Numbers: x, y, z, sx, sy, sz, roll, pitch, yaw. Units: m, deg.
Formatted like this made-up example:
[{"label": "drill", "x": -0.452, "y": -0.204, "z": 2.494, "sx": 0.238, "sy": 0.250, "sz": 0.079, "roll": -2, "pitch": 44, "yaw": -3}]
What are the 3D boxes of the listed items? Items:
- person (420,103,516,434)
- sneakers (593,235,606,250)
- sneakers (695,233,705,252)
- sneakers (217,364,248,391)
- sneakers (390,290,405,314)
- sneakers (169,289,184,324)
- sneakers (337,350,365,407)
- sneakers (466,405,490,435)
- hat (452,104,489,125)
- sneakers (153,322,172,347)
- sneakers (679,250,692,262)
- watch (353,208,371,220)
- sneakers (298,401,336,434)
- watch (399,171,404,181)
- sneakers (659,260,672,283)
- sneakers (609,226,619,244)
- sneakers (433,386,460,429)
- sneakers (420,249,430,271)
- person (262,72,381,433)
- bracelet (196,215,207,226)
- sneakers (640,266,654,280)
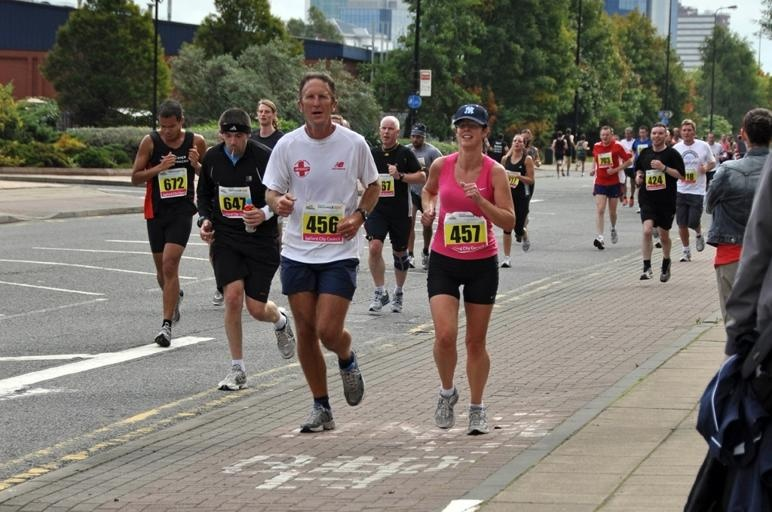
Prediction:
[{"label": "person", "x": 0.662, "y": 0.088, "z": 7.004, "sx": 0.700, "sy": 2.581, "sz": 0.856, "roll": -1, "pitch": 8, "yaw": 2}, {"label": "sneakers", "x": 4.306, "y": -0.254, "z": 17.558, "sx": 0.165, "sy": 0.210, "sz": 0.420, "roll": -3, "pitch": -23, "yaw": 11}, {"label": "sneakers", "x": 5.912, "y": -0.334, "z": 16.493, "sx": 0.159, "sy": 0.184, "sz": 0.487, "roll": -11, "pitch": 42, "yaw": 33}, {"label": "sneakers", "x": -1.427, "y": 1.118, "z": 8.157, "sx": 0.291, "sy": 0.225, "sz": 0.235, "roll": -4, "pitch": 9, "yaw": -18}, {"label": "sneakers", "x": 0.155, "y": 0.590, "z": 11.448, "sx": 0.106, "sy": 0.149, "sz": 0.337, "roll": 6, "pitch": 41, "yaw": -5}, {"label": "sneakers", "x": -2.357, "y": 0.570, "z": 9.855, "sx": 0.160, "sy": 0.478, "sz": 0.200, "roll": 2, "pitch": -2, "yaw": -9}, {"label": "sneakers", "x": -0.269, "y": 1.030, "z": 7.123, "sx": 0.166, "sy": 0.486, "sz": 0.193, "roll": -8, "pitch": 11, "yaw": 7}, {"label": "sneakers", "x": 0.725, "y": 1.271, "z": 6.804, "sx": 0.166, "sy": 0.214, "sz": 0.131, "roll": 0, "pitch": 8, "yaw": 3}, {"label": "hat", "x": 0.669, "y": -1.123, "z": 6.933, "sx": 0.259, "sy": 0.168, "sz": 0.381, "roll": -1, "pitch": 9, "yaw": 2}, {"label": "sneakers", "x": -2.391, "y": 0.838, "z": 9.435, "sx": 0.185, "sy": 0.261, "sz": 0.192, "roll": -3, "pitch": 9, "yaw": -15}, {"label": "sneakers", "x": 5.309, "y": -0.007, "z": 15.449, "sx": 0.114, "sy": 0.243, "sz": 0.344, "roll": -2, "pitch": 11, "yaw": -11}, {"label": "watch", "x": -0.189, "y": -0.319, "z": 6.871, "sx": 0.108, "sy": 0.101, "sz": 0.072, "roll": 39, "pitch": 36, "yaw": 9}, {"label": "sneakers", "x": -0.518, "y": 1.292, "z": 7.023, "sx": 0.141, "sy": 0.200, "sz": 0.380, "roll": -3, "pitch": -3, "yaw": 32}, {"label": "watch", "x": 0.195, "y": -1.068, "z": 11.638, "sx": 0.061, "sy": 0.080, "sz": 0.092, "roll": 1, "pitch": 37, "yaw": -2}, {"label": "sneakers", "x": 4.197, "y": 0.207, "z": 13.125, "sx": 0.129, "sy": 0.393, "sz": 0.260, "roll": 1, "pitch": 9, "yaw": 12}, {"label": "sneakers", "x": 4.810, "y": -0.442, "z": 18.433, "sx": 0.156, "sy": 0.476, "sz": 0.185, "roll": -1, "pitch": -17, "yaw": 18}, {"label": "sneakers", "x": 0.473, "y": 1.212, "z": 6.934, "sx": 0.146, "sy": 0.365, "sz": 0.166, "roll": 3, "pitch": -10, "yaw": 19}, {"label": "sneakers", "x": 0.641, "y": 0.038, "z": 14.601, "sx": 0.138, "sy": 0.409, "sz": 0.174, "roll": -2, "pitch": 4, "yaw": -9}, {"label": "person", "x": -0.482, "y": -0.010, "z": 6.837, "sx": 0.876, "sy": 2.816, "sz": 0.593, "roll": -2, "pitch": 8, "yaw": -8}, {"label": "bracelet", "x": -1.761, "y": -0.342, "z": 8.349, "sx": 0.095, "sy": 0.087, "sz": 0.117, "roll": 1, "pitch": -1, "yaw": -2}, {"label": "sneakers", "x": 4.036, "y": 0.213, "z": 13.562, "sx": 0.183, "sy": 0.302, "sz": 0.189, "roll": 1, "pitch": 9, "yaw": 11}]
